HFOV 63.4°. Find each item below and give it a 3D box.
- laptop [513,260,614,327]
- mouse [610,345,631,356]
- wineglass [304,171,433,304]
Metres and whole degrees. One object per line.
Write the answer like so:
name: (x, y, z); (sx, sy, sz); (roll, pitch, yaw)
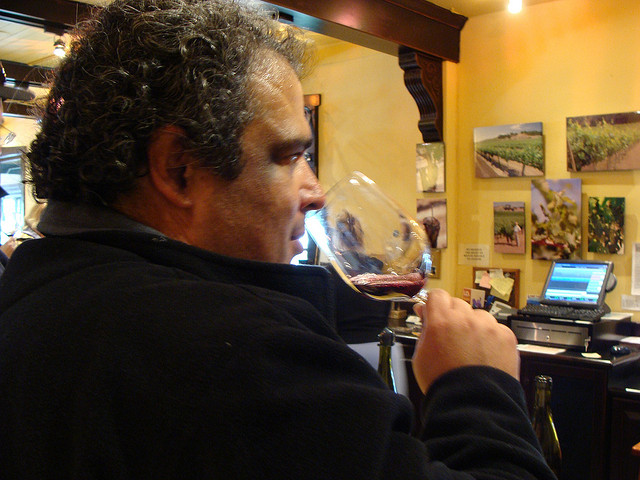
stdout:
laptop: (1.465, 0.279, 3.084); (0.359, 0.362, 0.414); (2, -1, -32)
mouse: (1.680, 0.615, 2.901); (0.134, 0.040, 0.063); (2, 3, -13)
wineglass: (0.092, -0.015, 0.963); (0.198, 0.227, 0.140); (5, 3, 31)
